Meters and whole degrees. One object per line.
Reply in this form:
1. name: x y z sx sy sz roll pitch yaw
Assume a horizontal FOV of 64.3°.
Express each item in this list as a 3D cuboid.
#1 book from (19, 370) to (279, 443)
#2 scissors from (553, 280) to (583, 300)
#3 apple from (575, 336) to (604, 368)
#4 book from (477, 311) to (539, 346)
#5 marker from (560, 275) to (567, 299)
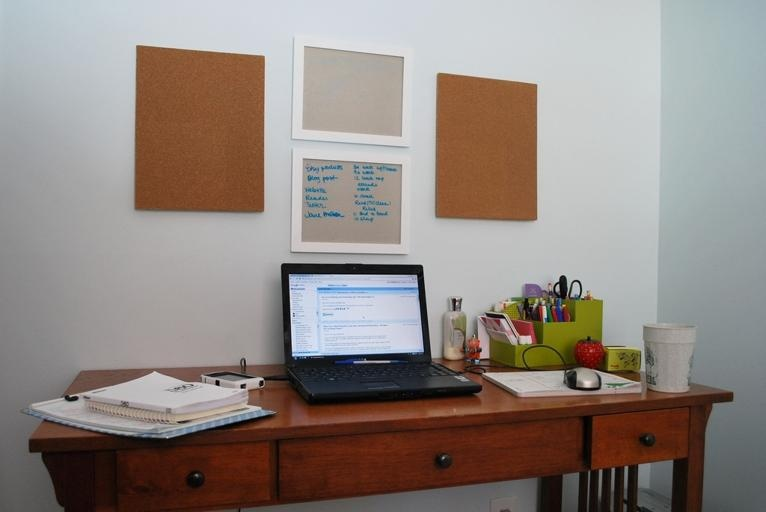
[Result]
1. book: -0.673 0.449 1.779 0.325 0.066 0.312 11 2 12
2. scissors: 0.753 0.132 2.475 0.098 0.095 0.023 24 -16 -28
3. apple: 0.754 0.360 2.294 0.114 0.121 0.110 0 1 -15
4. book: 0.475 0.275 2.340 0.152 0.046 0.114 0 -35 48
5. marker: 0.730 0.123 2.455 0.038 0.087 0.034 -2 3 -10
